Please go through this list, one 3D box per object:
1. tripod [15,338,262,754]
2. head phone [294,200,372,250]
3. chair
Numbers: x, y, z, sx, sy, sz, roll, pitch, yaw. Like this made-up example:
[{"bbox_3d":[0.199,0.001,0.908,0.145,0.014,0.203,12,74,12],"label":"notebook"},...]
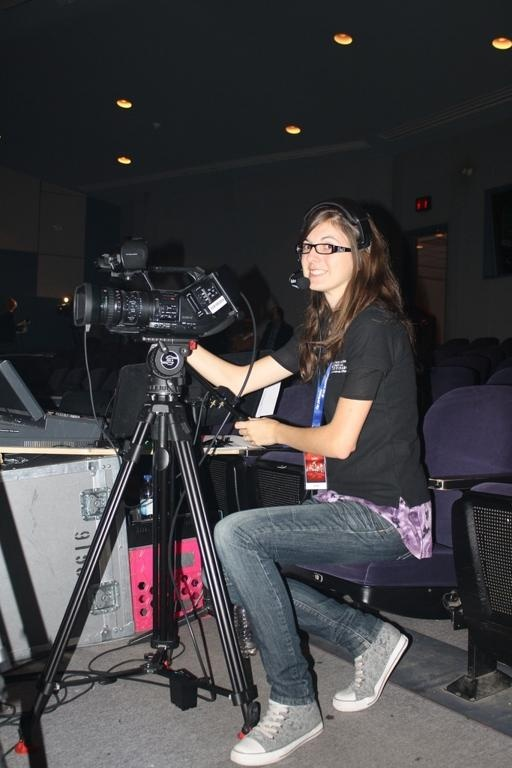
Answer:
[{"bbox_3d":[-0.232,0.329,1.283,0.479,0.824,0.313,-1,-3,4],"label":"tripod"},{"bbox_3d":[0.167,-0.354,1.261,0.119,0.135,0.066,5,38,40],"label":"head phone"},{"bbox_3d":[0.008,0.391,1.839,0.898,1.501,0.647,3,-10,-6],"label":"chair"}]
